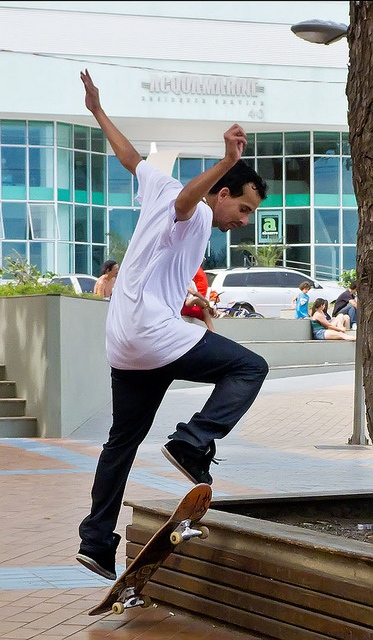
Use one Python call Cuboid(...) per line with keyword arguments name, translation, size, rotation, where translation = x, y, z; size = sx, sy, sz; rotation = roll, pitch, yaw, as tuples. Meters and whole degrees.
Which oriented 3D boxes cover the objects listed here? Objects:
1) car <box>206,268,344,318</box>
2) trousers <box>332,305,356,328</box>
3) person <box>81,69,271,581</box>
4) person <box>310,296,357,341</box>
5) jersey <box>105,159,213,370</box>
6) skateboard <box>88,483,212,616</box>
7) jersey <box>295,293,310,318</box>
Cuboid(name="car", translation=(3.003, -1.130, 22.911), size=(5.062, 1.561, 2.033), rotation=(-4, 4, -21))
Cuboid(name="trousers", translation=(4.601, -0.143, 18.861), size=(0.597, 0.615, 0.554), rotation=(-1, -4, 9))
Cuboid(name="person", translation=(-0.053, 0.078, 2.541), size=(0.496, 1.925, 0.880), rotation=(3, -5, -41))
Cuboid(name="person", translation=(4.136, 0.106, 17.599), size=(1.496, 1.402, 0.691), rotation=(5, -15, -8))
Cuboid(name="jersey", translation=(-0.096, -0.247, 2.484), size=(0.331, 0.861, 0.489), rotation=(3, -5, -44))
Cuboid(name="skateboard", translation=(-0.082, 0.798, 2.272), size=(0.160, 0.624, 0.107), rotation=(-3, 47, -40))
Cuboid(name="jersey", translation=(3.401, -0.459, 19.027), size=(0.401, 0.774, 0.681), rotation=(-1, -4, 9))
